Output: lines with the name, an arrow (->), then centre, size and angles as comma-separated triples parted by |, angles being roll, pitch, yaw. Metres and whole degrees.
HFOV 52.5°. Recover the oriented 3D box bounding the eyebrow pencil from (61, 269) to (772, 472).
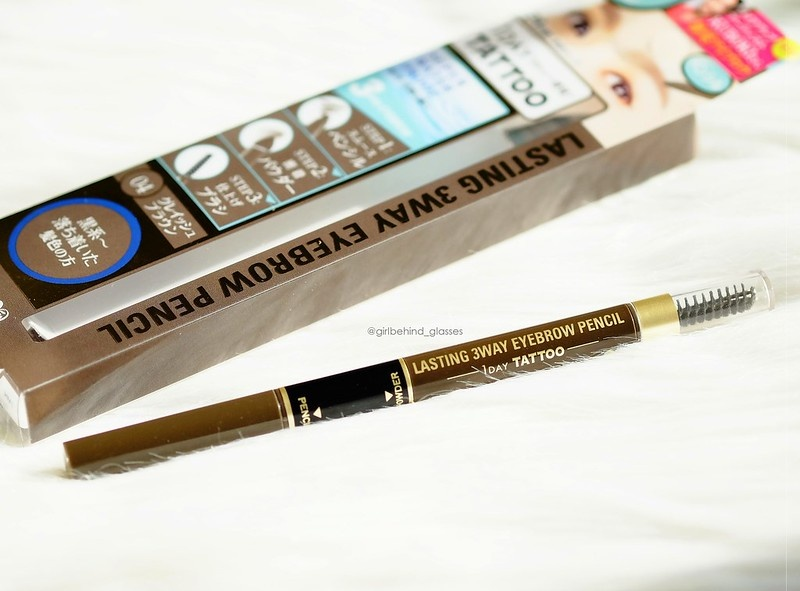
eyebrow pencil -> 0.005, 0.061, 0.608 | 0.517, 0.047, 0.039 | -11, 30, -2
